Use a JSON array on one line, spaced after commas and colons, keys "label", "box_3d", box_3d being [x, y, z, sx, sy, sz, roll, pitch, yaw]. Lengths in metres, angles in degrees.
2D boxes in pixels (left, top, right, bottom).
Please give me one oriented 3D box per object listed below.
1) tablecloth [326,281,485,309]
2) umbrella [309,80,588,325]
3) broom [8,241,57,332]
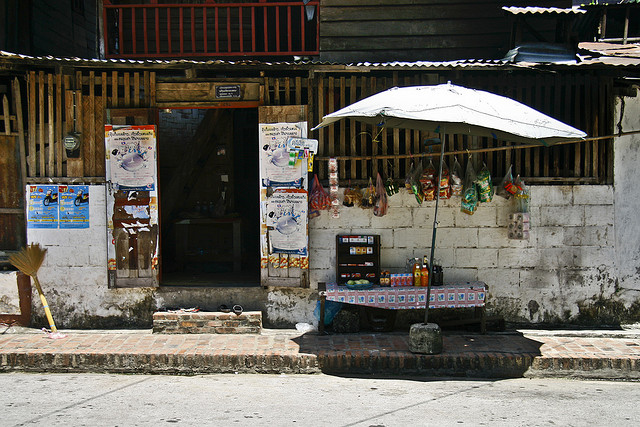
[{"label": "tablecloth", "box_3d": [1.760, 1.763, 21.867, 2.005, 0.545, 0.428, 0, 14, -5]}, {"label": "umbrella", "box_3d": [2.657, -0.290, 21.865, 4.220, 3.577, 3.936, 12, 14, 43]}, {"label": "broom", "box_3d": [-5.572, 1.406, 22.195, 1.085, 1.699, 0.610, 2, 3, 40]}]
